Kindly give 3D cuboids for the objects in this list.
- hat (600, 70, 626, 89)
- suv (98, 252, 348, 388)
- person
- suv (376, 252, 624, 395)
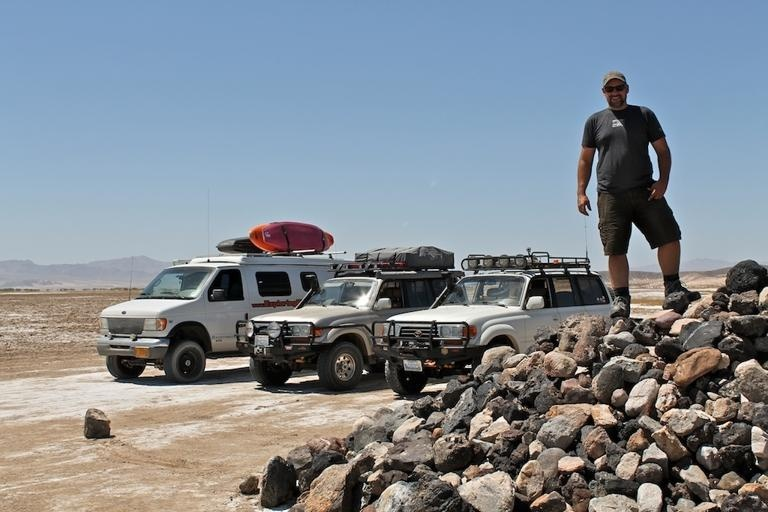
[{"bbox_3d":[2.803,-2.170,6.474,0.240,0.183,0.172,-4,-5,27],"label":"hat"},{"bbox_3d":[-4.688,1.481,15.203,7.839,2.557,3.841,0,-3,-41],"label":"suv"},{"bbox_3d":[3.061,-0.749,6.619,1.176,3.015,0.921,-5,-6,21],"label":"person"},{"bbox_3d":[2.681,1.212,11.709,5.693,2.095,2.684,-3,3,-39],"label":"suv"}]
